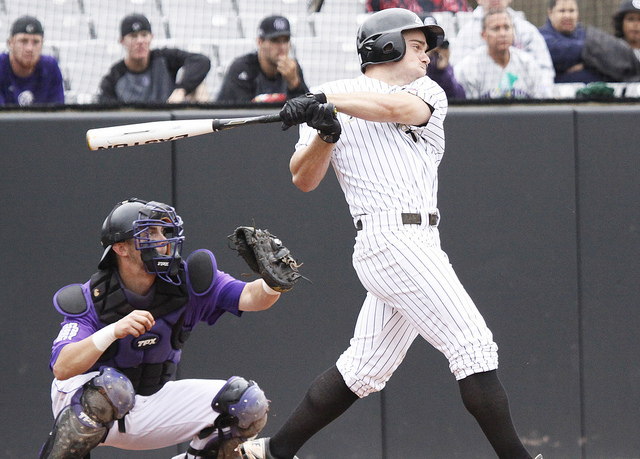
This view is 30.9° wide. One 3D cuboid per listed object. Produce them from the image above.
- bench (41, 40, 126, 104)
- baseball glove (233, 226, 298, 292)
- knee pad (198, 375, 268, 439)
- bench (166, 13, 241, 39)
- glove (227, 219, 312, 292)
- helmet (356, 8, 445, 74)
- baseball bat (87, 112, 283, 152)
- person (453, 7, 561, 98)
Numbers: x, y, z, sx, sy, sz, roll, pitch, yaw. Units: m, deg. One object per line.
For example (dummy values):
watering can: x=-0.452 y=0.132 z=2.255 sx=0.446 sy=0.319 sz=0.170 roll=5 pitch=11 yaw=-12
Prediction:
bench: x=-1.580 y=-1.035 z=7.667 sx=0.439 sy=0.451 sz=0.107 roll=1 pitch=7 yaw=-5
baseball glove: x=-0.302 y=0.150 z=6.690 sx=0.459 sy=0.204 sz=0.267 roll=48 pitch=35 yaw=15
knee pad: x=-0.515 y=1.069 z=6.819 sx=0.410 sy=0.347 sz=0.159 roll=-4 pitch=11 yaw=-8
bench: x=-0.792 y=-1.364 z=7.729 sx=0.465 sy=0.168 sz=0.011 roll=-2 pitch=10 yaw=2
glove: x=-0.281 y=0.172 z=6.687 sx=0.341 sy=0.233 sz=0.574 roll=-16 pitch=50 yaw=-45
helmet: x=0.472 y=-1.099 z=6.742 sx=0.502 sy=0.366 sz=0.235 roll=-2 pitch=11 yaw=2
baseball bat: x=-0.855 y=-0.595 z=7.230 sx=1.391 sy=0.179 sz=0.174 roll=-6 pitch=-3 yaw=4
person: x=1.234 y=-1.087 z=7.957 sx=0.880 sy=0.797 sz=0.481 roll=-2 pitch=-1 yaw=-16
